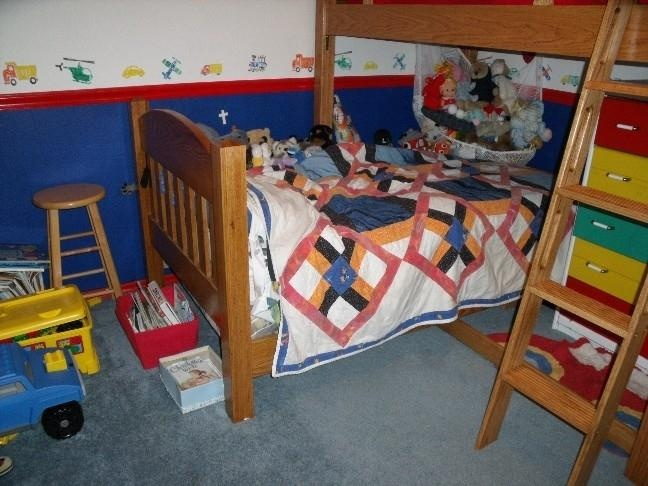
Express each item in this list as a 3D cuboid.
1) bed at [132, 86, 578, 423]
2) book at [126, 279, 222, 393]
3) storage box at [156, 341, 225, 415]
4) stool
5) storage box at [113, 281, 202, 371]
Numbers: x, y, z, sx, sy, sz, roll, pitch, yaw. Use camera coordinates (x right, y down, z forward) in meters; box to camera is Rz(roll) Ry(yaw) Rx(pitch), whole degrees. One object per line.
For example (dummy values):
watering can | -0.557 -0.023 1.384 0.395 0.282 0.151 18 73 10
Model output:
bed | -0.253 -0.166 3.049 1.804 1.409 2.026 -12 20 -27
book | -0.972 0.461 2.833 0.351 0.248 0.545 -13 25 -31
storage box | -0.672 0.636 2.493 0.301 0.143 0.302 -12 29 -28
stool | -1.490 0.018 2.985 0.476 0.690 0.490 17 29 28
storage box | -0.981 0.395 2.818 0.373 0.244 0.584 -10 32 -30
